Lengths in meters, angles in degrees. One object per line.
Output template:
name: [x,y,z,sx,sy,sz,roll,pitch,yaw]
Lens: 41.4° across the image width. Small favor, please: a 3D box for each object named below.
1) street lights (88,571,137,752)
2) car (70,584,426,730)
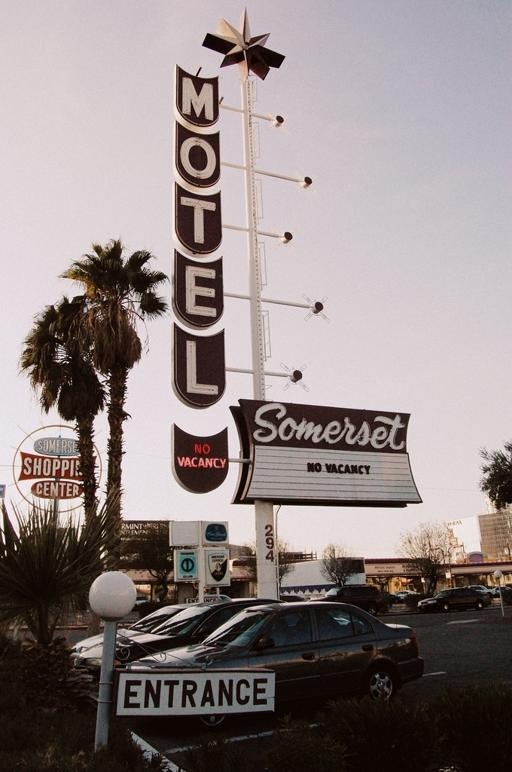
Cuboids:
street lights: [-1.026,1.933,4.786,0.321,1.187,0.857,2,-19,-12]
car: [0.702,3.330,8.407,2.915,1.201,0.743,9,-22,-32]
